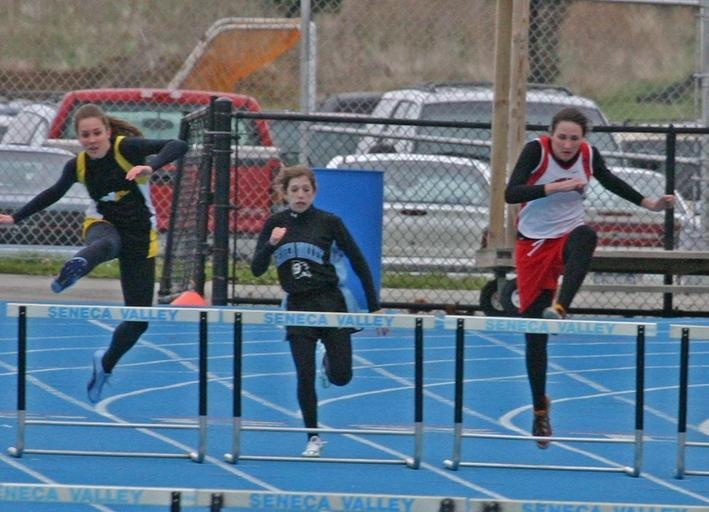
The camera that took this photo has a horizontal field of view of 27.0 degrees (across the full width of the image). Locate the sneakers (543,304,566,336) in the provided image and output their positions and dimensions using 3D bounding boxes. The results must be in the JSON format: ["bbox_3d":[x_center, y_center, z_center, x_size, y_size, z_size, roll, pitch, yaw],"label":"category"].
[{"bbox_3d":[1.849,0.577,13.732,0.149,0.343,0.151,3,36,19],"label":"sneakers"}]

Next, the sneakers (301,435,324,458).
[{"bbox_3d":[-0.393,1.750,13.509,0.175,0.165,0.305,1,12,2],"label":"sneakers"}]

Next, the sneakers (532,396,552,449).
[{"bbox_3d":[1.751,1.563,13.816,0.171,0.453,0.192,-3,-12,16],"label":"sneakers"}]

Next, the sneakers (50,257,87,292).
[{"bbox_3d":[-2.692,0.162,14.028,0.452,0.217,0.227,-37,11,-10],"label":"sneakers"}]

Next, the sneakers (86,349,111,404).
[{"bbox_3d":[-2.465,1.189,14.241,0.223,0.536,0.233,5,7,-40],"label":"sneakers"}]
